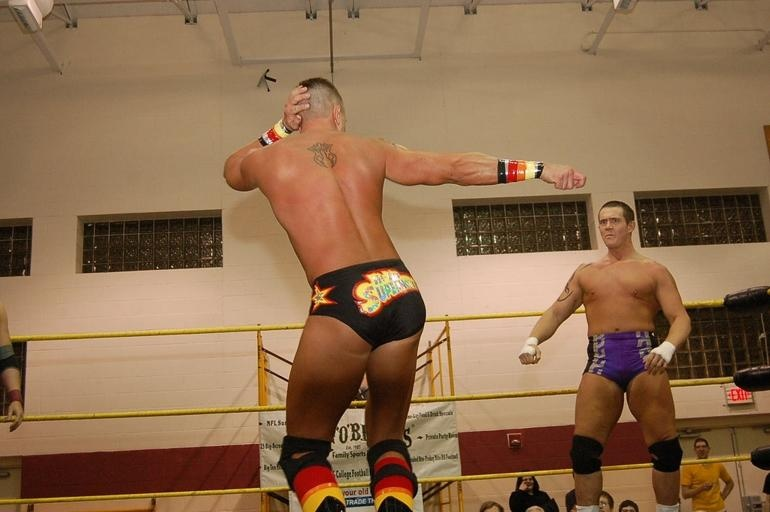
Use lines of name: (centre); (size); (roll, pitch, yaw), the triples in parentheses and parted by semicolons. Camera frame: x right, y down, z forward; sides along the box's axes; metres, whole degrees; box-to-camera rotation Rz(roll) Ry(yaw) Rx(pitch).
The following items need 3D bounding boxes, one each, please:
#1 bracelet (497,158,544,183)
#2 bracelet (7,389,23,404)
bracelet: (1.125, -0.703, 6.174); (0.345, 0.188, 0.127); (-1, -4, 2)
bracelet: (-3.554, 1.350, 7.046); (0.115, 0.125, 0.222); (-2, 2, -30)
